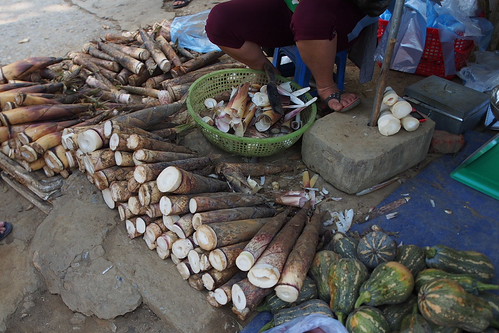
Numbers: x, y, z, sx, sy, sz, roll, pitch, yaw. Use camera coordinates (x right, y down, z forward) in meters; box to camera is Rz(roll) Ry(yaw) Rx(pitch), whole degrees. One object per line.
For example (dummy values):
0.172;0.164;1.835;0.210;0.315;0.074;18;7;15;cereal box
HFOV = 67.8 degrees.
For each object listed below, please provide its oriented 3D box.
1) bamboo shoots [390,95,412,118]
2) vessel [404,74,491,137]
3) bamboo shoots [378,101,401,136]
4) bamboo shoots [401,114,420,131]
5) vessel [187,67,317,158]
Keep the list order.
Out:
1.700;-0.647;4.183;0.195;0.216;0.222;-19;28;17;bamboo shoots
2.525;-0.800;4.711;0.756;0.384;0.760;-27;47;-23;vessel
1.551;-0.516;4.261;0.240;0.208;0.330;-27;54;-9;bamboo shoots
1.817;-0.494;4.304;0.180;0.180;0.187;17;22;-1;bamboo shoots
-0.252;-0.705;4.600;1.269;0.488;1.354;8;43;2;vessel
